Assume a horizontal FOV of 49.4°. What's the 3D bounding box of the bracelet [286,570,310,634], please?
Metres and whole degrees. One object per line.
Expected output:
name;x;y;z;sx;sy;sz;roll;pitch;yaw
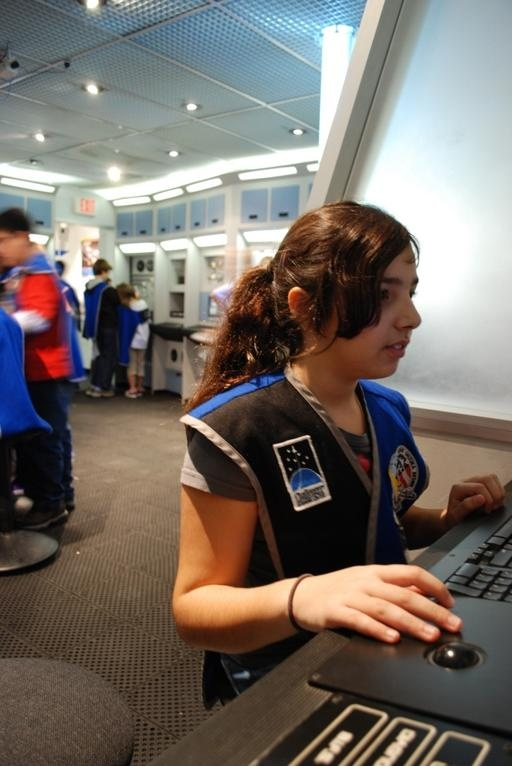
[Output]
bracelet;0.040;0.237;0.604;0.013;0.050;0.052;-3;10;12
